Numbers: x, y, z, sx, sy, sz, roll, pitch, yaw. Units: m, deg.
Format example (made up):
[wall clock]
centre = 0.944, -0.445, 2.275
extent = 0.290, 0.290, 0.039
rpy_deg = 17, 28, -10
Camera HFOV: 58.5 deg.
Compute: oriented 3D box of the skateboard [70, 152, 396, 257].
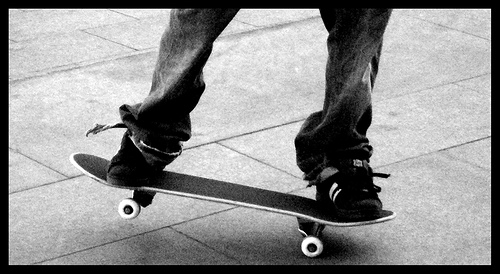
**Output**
[skateboard]
centre = -0.155, 0.563, 3.506
extent = 2.121, 0.231, 0.440
rpy_deg = 10, 11, 5
